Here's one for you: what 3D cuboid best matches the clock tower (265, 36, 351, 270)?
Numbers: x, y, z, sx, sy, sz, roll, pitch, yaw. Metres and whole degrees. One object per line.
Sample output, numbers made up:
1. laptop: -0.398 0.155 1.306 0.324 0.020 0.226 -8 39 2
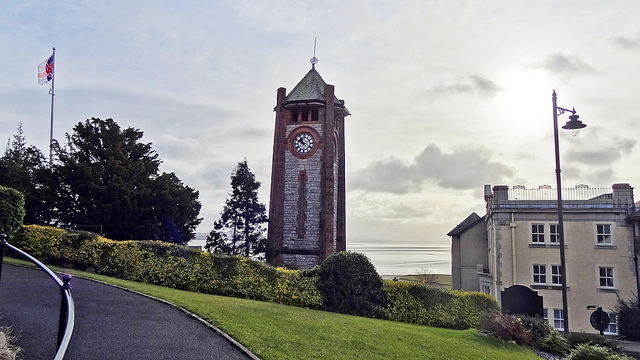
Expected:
1. clock tower: -1.457 -2.923 60.335 9.080 27.632 4.657 5 -13 -5
